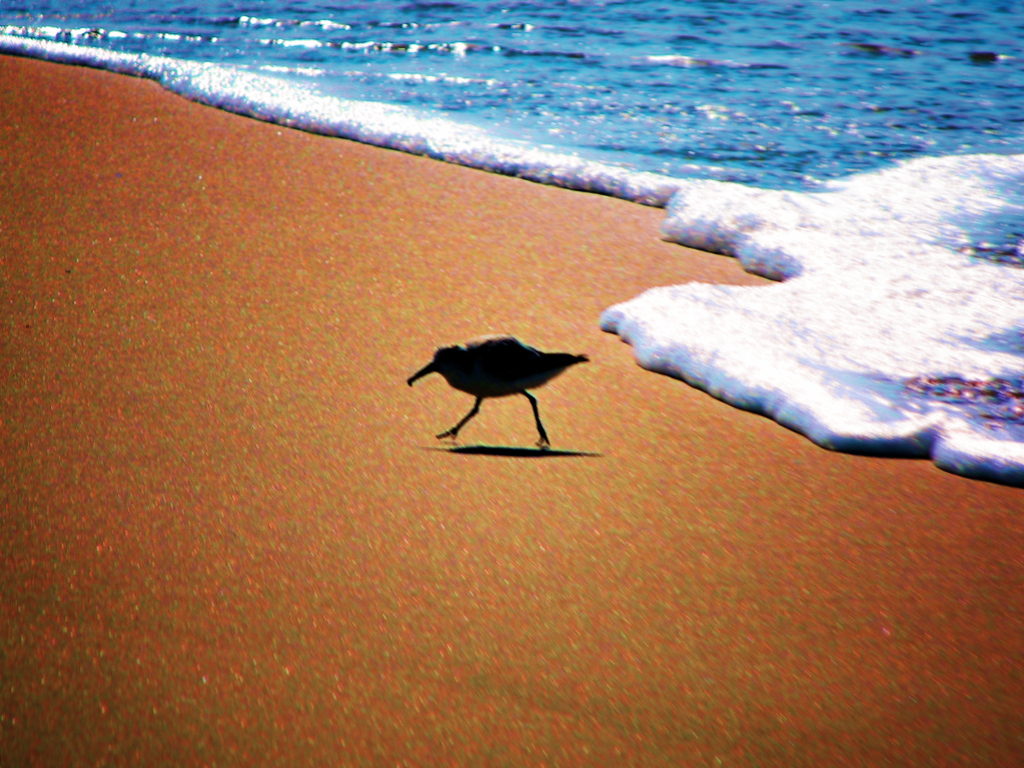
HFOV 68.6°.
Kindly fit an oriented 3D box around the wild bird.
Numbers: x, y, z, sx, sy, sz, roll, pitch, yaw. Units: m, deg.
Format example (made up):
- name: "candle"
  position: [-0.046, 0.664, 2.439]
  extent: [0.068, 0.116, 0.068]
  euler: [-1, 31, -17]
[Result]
- name: "wild bird"
  position: [-0.058, 0.028, 3.016]
  extent: [0.748, 0.384, 0.233]
  euler: [-1, -6, -27]
